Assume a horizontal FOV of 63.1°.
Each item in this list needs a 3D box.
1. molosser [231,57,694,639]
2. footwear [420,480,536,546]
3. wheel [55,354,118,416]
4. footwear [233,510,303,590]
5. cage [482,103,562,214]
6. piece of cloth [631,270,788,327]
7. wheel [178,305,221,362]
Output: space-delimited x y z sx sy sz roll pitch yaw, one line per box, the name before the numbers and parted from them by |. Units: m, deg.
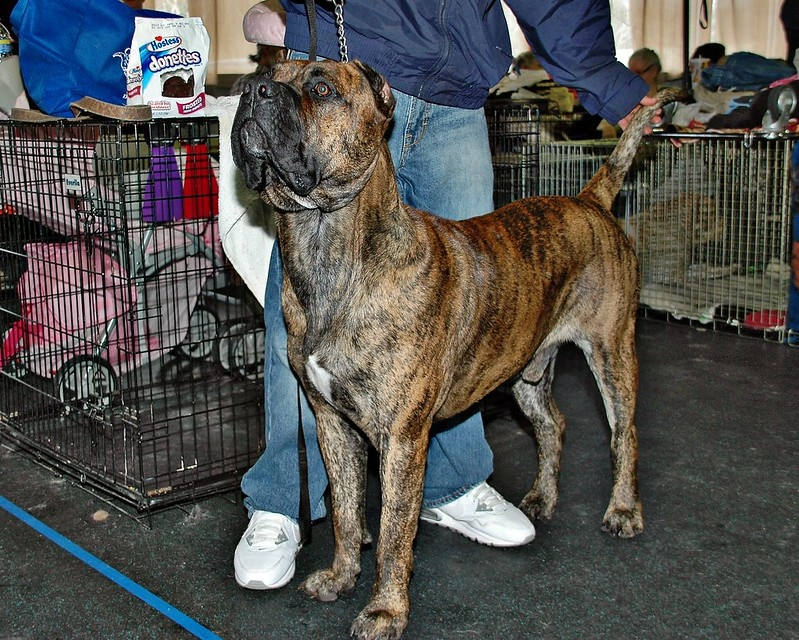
molosser | 0.231 0.082 2.237 1.487 1.782 0.564 -11 19 -33
footwear | 0.325 0.803 2.757 0.435 0.218 0.179 8 6 32
wheel | -1.656 0.338 3.407 0.325 0.358 0.142 2 9 -6
footwear | -0.496 0.856 2.440 0.127 0.158 0.353 3 -3 5
cage | 0.720 -0.931 3.877 0.295 0.519 0.298 -3 7 -35
piece of cloth | 2.600 -0.208 5.427 0.860 0.414 0.216 -3 -11 35
wheel | -1.230 0.076 3.947 0.313 0.363 0.111 2 -13 -21
